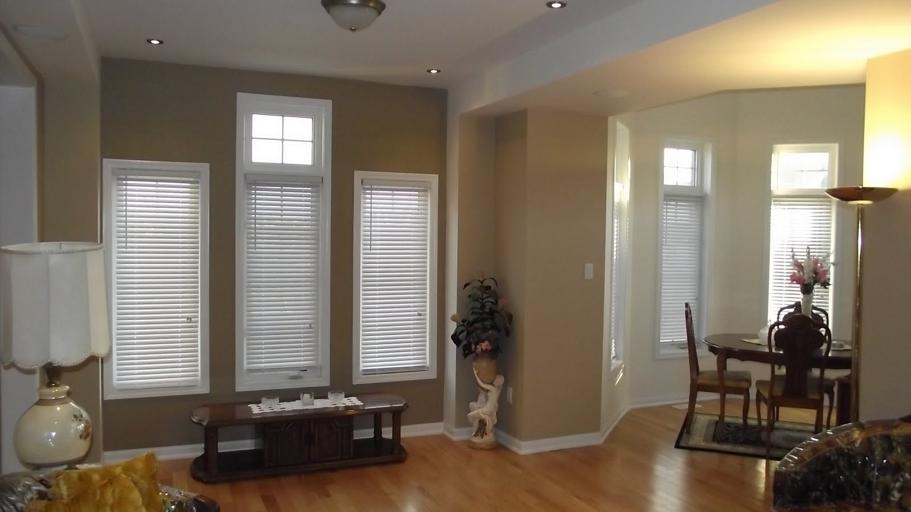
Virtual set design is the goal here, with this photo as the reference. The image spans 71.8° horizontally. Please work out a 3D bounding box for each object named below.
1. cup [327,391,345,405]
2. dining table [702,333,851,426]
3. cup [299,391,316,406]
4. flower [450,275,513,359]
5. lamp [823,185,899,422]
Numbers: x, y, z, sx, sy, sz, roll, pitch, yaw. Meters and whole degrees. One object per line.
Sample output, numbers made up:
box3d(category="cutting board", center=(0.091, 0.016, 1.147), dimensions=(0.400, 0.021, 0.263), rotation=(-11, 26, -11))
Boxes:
box3d(category="cup", center=(-1.320, 1.578, 6.992), dimensions=(0.139, 0.082, 0.139), rotation=(1, -3, 0))
box3d(category="dining table", center=(3.573, 1.577, 7.530), dimensions=(1.382, 0.597, 1.047), rotation=(0, -1, 0))
box3d(category="cup", center=(-1.636, 1.576, 6.940), dimensions=(0.142, 0.100, 0.141), rotation=(2, -2, 0))
box3d(category="flower", center=(0.307, 0.777, 7.427), dimensions=(0.703, 0.990, 0.566), rotation=(-1, 12, -6))
box3d(category="lamp", center=(3.614, 0.423, 5.775), dimensions=(0.482, 2.124, 0.391), rotation=(8, 14, 32))
